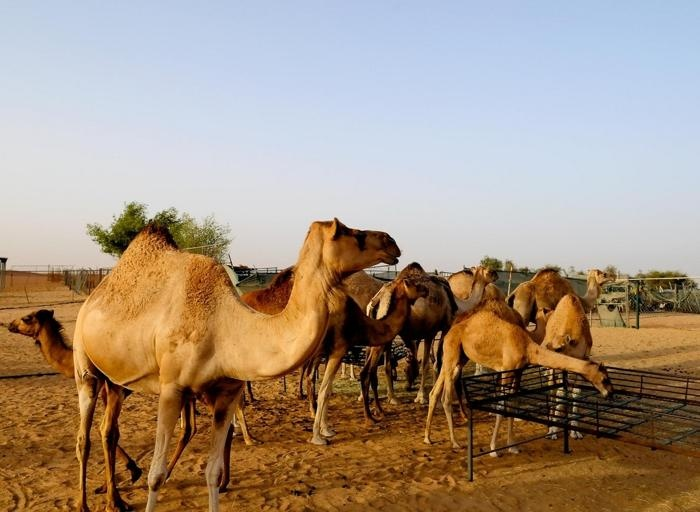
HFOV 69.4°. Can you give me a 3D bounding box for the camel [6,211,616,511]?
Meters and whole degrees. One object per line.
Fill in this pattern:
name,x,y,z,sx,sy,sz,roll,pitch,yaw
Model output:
camel,-2.256,0.708,6.777,7.909,3.188,1.491,0,0,19
